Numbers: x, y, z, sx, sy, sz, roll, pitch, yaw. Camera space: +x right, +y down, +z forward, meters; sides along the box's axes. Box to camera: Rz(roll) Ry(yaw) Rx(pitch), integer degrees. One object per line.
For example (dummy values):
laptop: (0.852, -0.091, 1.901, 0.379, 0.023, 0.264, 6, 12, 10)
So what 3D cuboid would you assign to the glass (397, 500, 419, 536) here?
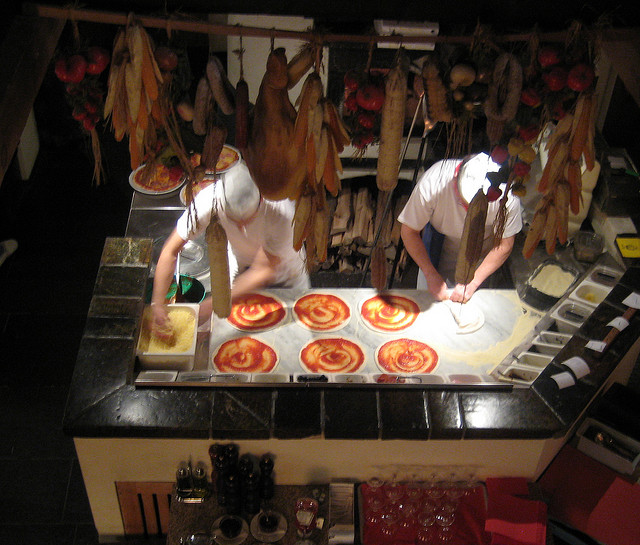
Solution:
glass: (0.451, 1.285, 2.731, 0.115, 0.145, 0.128, 1, 42, 3)

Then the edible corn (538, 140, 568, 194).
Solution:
edible corn: (0.813, -0.362, 1.798, 0.046, 0.158, 0.040, 15, 40, 16)

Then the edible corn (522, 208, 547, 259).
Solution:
edible corn: (0.840, -0.148, 1.995, 0.049, 0.215, 0.057, -27, 26, -5)

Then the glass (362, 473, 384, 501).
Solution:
glass: (0.281, 1.147, 2.794, 0.100, 0.122, 0.117, 2, 38, -1)

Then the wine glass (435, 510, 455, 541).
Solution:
wine glass: (0.639, 1.303, 2.691, 0.095, 0.083, 0.121, 10, 31, 11)

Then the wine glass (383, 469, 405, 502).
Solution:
wine glass: (0.395, 1.142, 2.777, 0.114, 0.106, 0.132, 4, 30, 1)

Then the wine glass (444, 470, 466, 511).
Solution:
wine glass: (0.714, 1.156, 2.766, 0.119, 0.111, 0.191, 13, 32, 16)

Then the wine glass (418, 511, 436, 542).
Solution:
wine glass: (0.553, 1.315, 2.695, 0.063, 0.128, 0.139, -1, 67, 7)

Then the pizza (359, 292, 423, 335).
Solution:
pizza: (0.417, 0.238, 3.067, 0.362, 0.082, 0.301, 6, 31, 2)

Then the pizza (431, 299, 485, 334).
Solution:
pizza: (0.815, 0.256, 3.066, 0.322, 0.072, 0.247, 0, 32, -7)

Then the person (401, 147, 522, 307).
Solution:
person: (0.847, -0.235, 3.089, 0.573, 1.405, 0.918, 5, 74, 10)

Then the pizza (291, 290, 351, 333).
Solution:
pizza: (0.008, 0.240, 3.060, 0.336, 0.056, 0.395, 8, 31, 2)

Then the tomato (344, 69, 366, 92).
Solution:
tomato: (0.104, -0.580, 1.567, 0.051, 0.072, 0.038, 10, 1, -2)

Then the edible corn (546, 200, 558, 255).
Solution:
edible corn: (0.864, -0.184, 1.947, 0.052, 0.052, 0.248, 2, 72, 26)

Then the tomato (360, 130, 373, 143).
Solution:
tomato: (0.154, -0.444, 1.696, 0.047, 0.049, 0.027, -16, 34, -30)

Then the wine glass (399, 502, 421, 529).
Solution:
wine glass: (0.473, 1.274, 2.729, 0.109, 0.070, 0.105, 4, 31, 0)

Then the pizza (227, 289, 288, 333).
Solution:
pizza: (-0.367, 0.240, 3.038, 0.304, 0.051, 0.370, 0, 36, 2)

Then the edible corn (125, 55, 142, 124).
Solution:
edible corn: (-0.515, -0.497, 1.419, 0.033, 0.179, 0.026, -2, 38, -20)

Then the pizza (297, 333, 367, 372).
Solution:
pizza: (0.065, 0.448, 2.861, 0.363, 0.072, 0.188, 3, 31, -1)

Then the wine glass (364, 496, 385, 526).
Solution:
wine glass: (0.279, 1.255, 2.735, 0.102, 0.127, 0.114, -2, 42, 0)

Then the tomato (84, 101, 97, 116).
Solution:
tomato: (-0.656, -0.468, 1.488, 0.033, 0.040, 0.012, -9, 31, -20)

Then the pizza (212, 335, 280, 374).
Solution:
pizza: (-0.404, 0.444, 2.844, 0.361, 0.072, 0.220, 4, 31, -1)

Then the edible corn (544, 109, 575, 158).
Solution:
edible corn: (0.790, -0.466, 1.712, 0.021, 0.132, 0.033, -3, 35, -33)

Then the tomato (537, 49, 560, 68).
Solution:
tomato: (0.640, -0.602, 1.460, 0.037, 0.043, 0.052, 9, -3, 7)

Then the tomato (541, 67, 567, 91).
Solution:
tomato: (0.682, -0.559, 1.508, 0.045, 0.066, 0.035, 12, 19, 17)

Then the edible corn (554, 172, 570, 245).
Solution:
edible corn: (0.862, -0.238, 1.860, 0.034, 0.230, 0.214, 0, 12, 12)

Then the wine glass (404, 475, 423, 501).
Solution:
wine glass: (0.506, 1.152, 2.782, 0.062, 0.092, 0.069, -8, 40, 2)

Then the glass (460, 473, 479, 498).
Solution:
glass: (0.795, 1.153, 2.846, 0.099, 0.123, 0.109, -1, 46, 3)

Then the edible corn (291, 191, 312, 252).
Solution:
edible corn: (-0.061, -0.184, 1.795, 0.045, 0.225, 0.051, 8, 25, 7)

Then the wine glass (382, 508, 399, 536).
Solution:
wine glass: (0.361, 1.291, 2.712, 0.093, 0.116, 0.109, 0, 45, 2)

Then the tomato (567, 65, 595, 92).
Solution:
tomato: (0.742, -0.548, 1.473, 0.056, 0.066, 0.030, 3, 15, 4)

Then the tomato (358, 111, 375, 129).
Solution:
tomato: (0.144, -0.483, 1.639, 0.052, 0.061, 0.031, 5, 29, 3)

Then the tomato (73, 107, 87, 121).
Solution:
tomato: (-0.690, -0.456, 1.491, 0.036, 0.041, 0.011, 10, 21, -5)

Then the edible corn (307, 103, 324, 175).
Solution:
edible corn: (-0.002, -0.387, 1.518, 0.053, 0.029, 0.242, 0, 57, 12)
